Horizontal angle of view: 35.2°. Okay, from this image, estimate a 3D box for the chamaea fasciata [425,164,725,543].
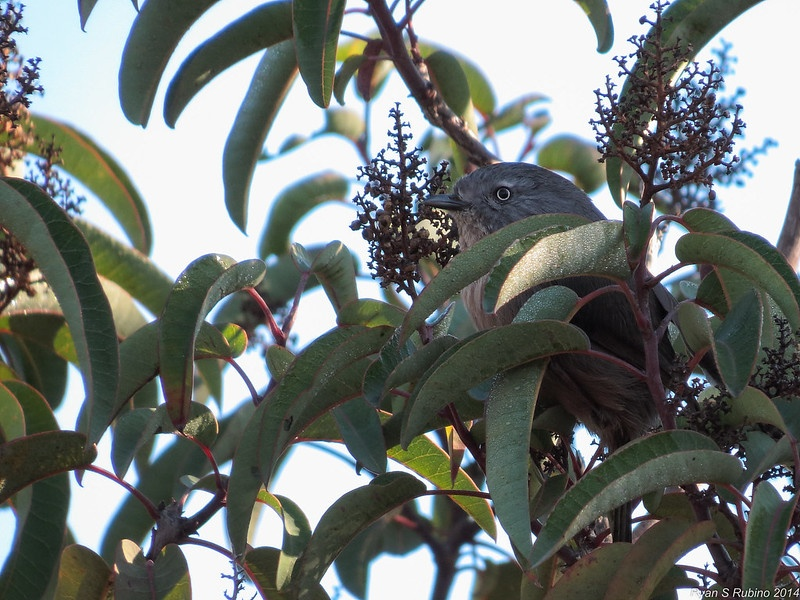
[{"bbox_3d":[0.678,0.138,5.229,1.164,1.776,0.598,21,-48,-7],"label":"chamaea fasciata"}]
